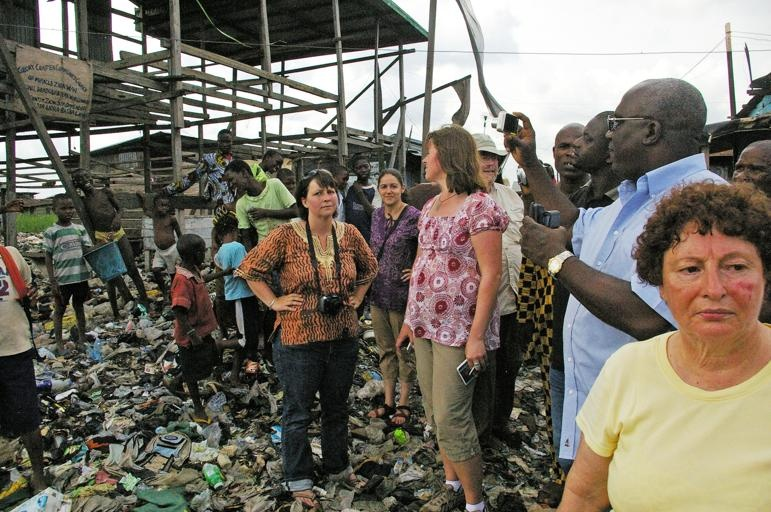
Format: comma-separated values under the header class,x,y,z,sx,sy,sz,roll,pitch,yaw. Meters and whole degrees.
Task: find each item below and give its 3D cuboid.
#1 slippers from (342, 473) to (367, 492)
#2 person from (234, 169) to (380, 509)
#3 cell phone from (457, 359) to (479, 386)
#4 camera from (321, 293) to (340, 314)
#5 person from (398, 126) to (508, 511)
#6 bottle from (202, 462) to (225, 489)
class,x,y,z,sx,sy,sz,roll,pitch,yaw
slippers,-0.292,2.134,5.935,0.210,0.066,0.115,7,23,37
person,-0.596,0.715,5.816,1.060,2.985,0.698,-10,14,-38
cell phone,0.672,0.954,5.165,0.228,0.121,0.022,-28,15,-7
camera,-0.478,0.410,5.649,0.157,0.165,0.232,2,3,43
person,0.608,0.507,5.346,0.741,3.210,0.930,-4,11,-14
bottle,-1.642,2.112,6.049,0.149,0.089,0.226,-10,33,-36
